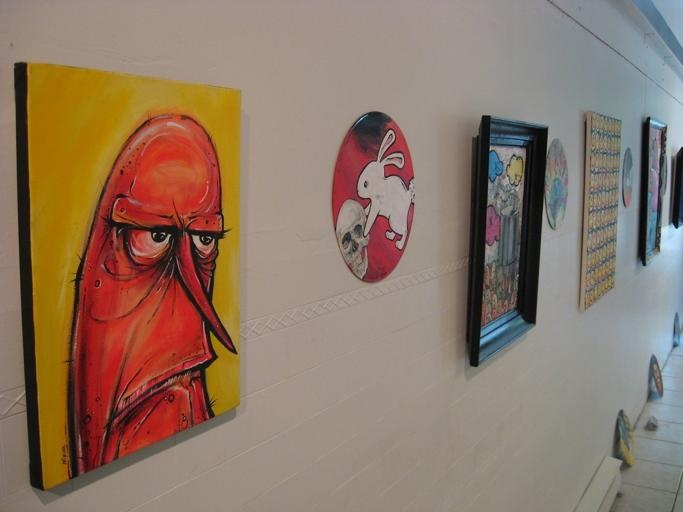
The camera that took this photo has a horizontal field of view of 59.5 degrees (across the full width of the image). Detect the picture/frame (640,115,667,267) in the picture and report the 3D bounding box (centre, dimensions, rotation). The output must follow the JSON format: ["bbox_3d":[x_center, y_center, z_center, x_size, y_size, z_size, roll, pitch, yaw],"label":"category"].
[{"bbox_3d":[2.378,-0.527,4.562,0.071,1.337,0.911,2,7,32],"label":"picture/frame"}]

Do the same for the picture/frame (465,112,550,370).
[{"bbox_3d":[0.602,-0.076,2.209,0.092,1.184,0.764,3,8,29],"label":"picture/frame"}]
